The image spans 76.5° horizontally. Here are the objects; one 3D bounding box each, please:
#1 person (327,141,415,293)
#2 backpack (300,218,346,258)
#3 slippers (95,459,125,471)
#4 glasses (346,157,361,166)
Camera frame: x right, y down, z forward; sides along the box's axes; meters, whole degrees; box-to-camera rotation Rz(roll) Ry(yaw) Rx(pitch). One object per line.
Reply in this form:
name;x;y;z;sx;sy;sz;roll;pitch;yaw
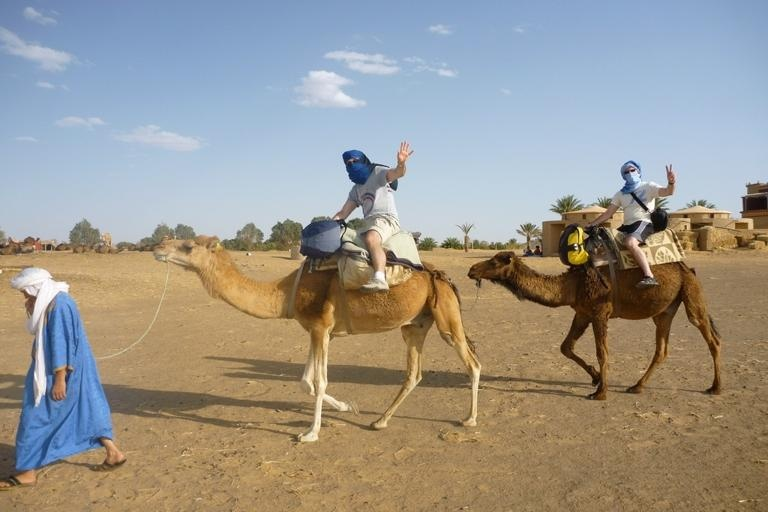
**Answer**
person;-0.194;-0.530;7.180;1.053;2.197;1.220;0;-1;4
backpack;-0.923;-0.251;7.330;0.698;0.580;0.330;-2;8;-6
slippers;-3.545;2.711;6.303;0.373;0.095;0.144;1;-7;-14
glasses;-0.493;-1.435;7.474;0.144;0.088;0.142;0;-6;5
